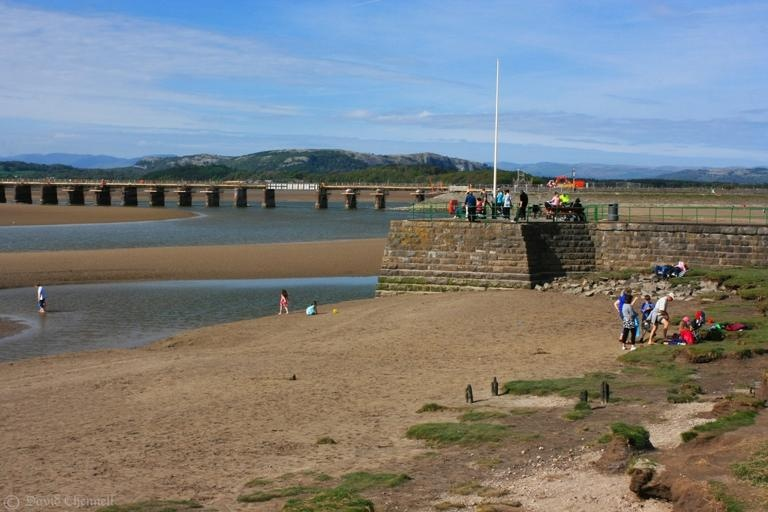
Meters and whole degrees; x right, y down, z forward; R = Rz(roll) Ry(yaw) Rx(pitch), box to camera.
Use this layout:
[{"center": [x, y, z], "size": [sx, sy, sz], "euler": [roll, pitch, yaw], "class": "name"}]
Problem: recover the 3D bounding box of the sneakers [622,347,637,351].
[{"center": [8.777, 3.279, 29.400], "size": [0.444, 0.116, 0.147], "euler": [-3, 3, 31], "class": "sneakers"}]
